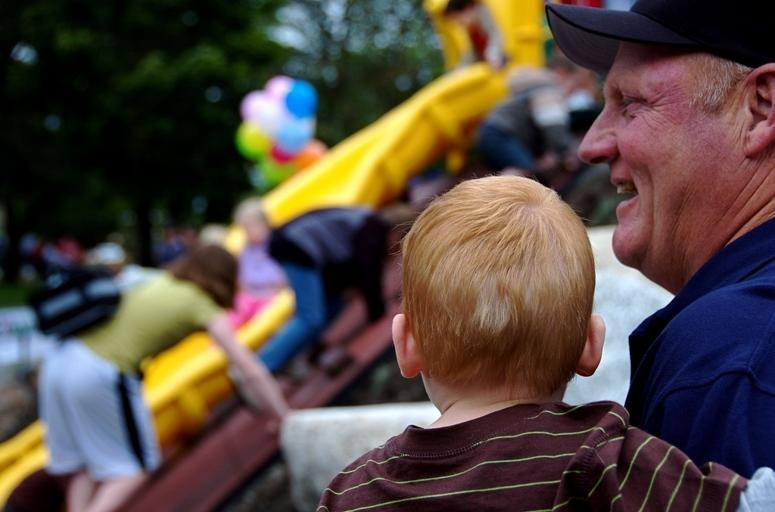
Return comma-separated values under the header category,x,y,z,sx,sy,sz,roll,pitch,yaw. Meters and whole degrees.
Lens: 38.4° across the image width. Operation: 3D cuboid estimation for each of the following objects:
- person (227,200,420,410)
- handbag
category,x,y,z,sx,sy,sz,roll,pitch,yaw
person,-0.430,0.115,8.381,0.560,1.044,1.856,3,26,42
handbag,-2.041,0.272,7.340,0.586,0.357,0.401,-23,29,-16
